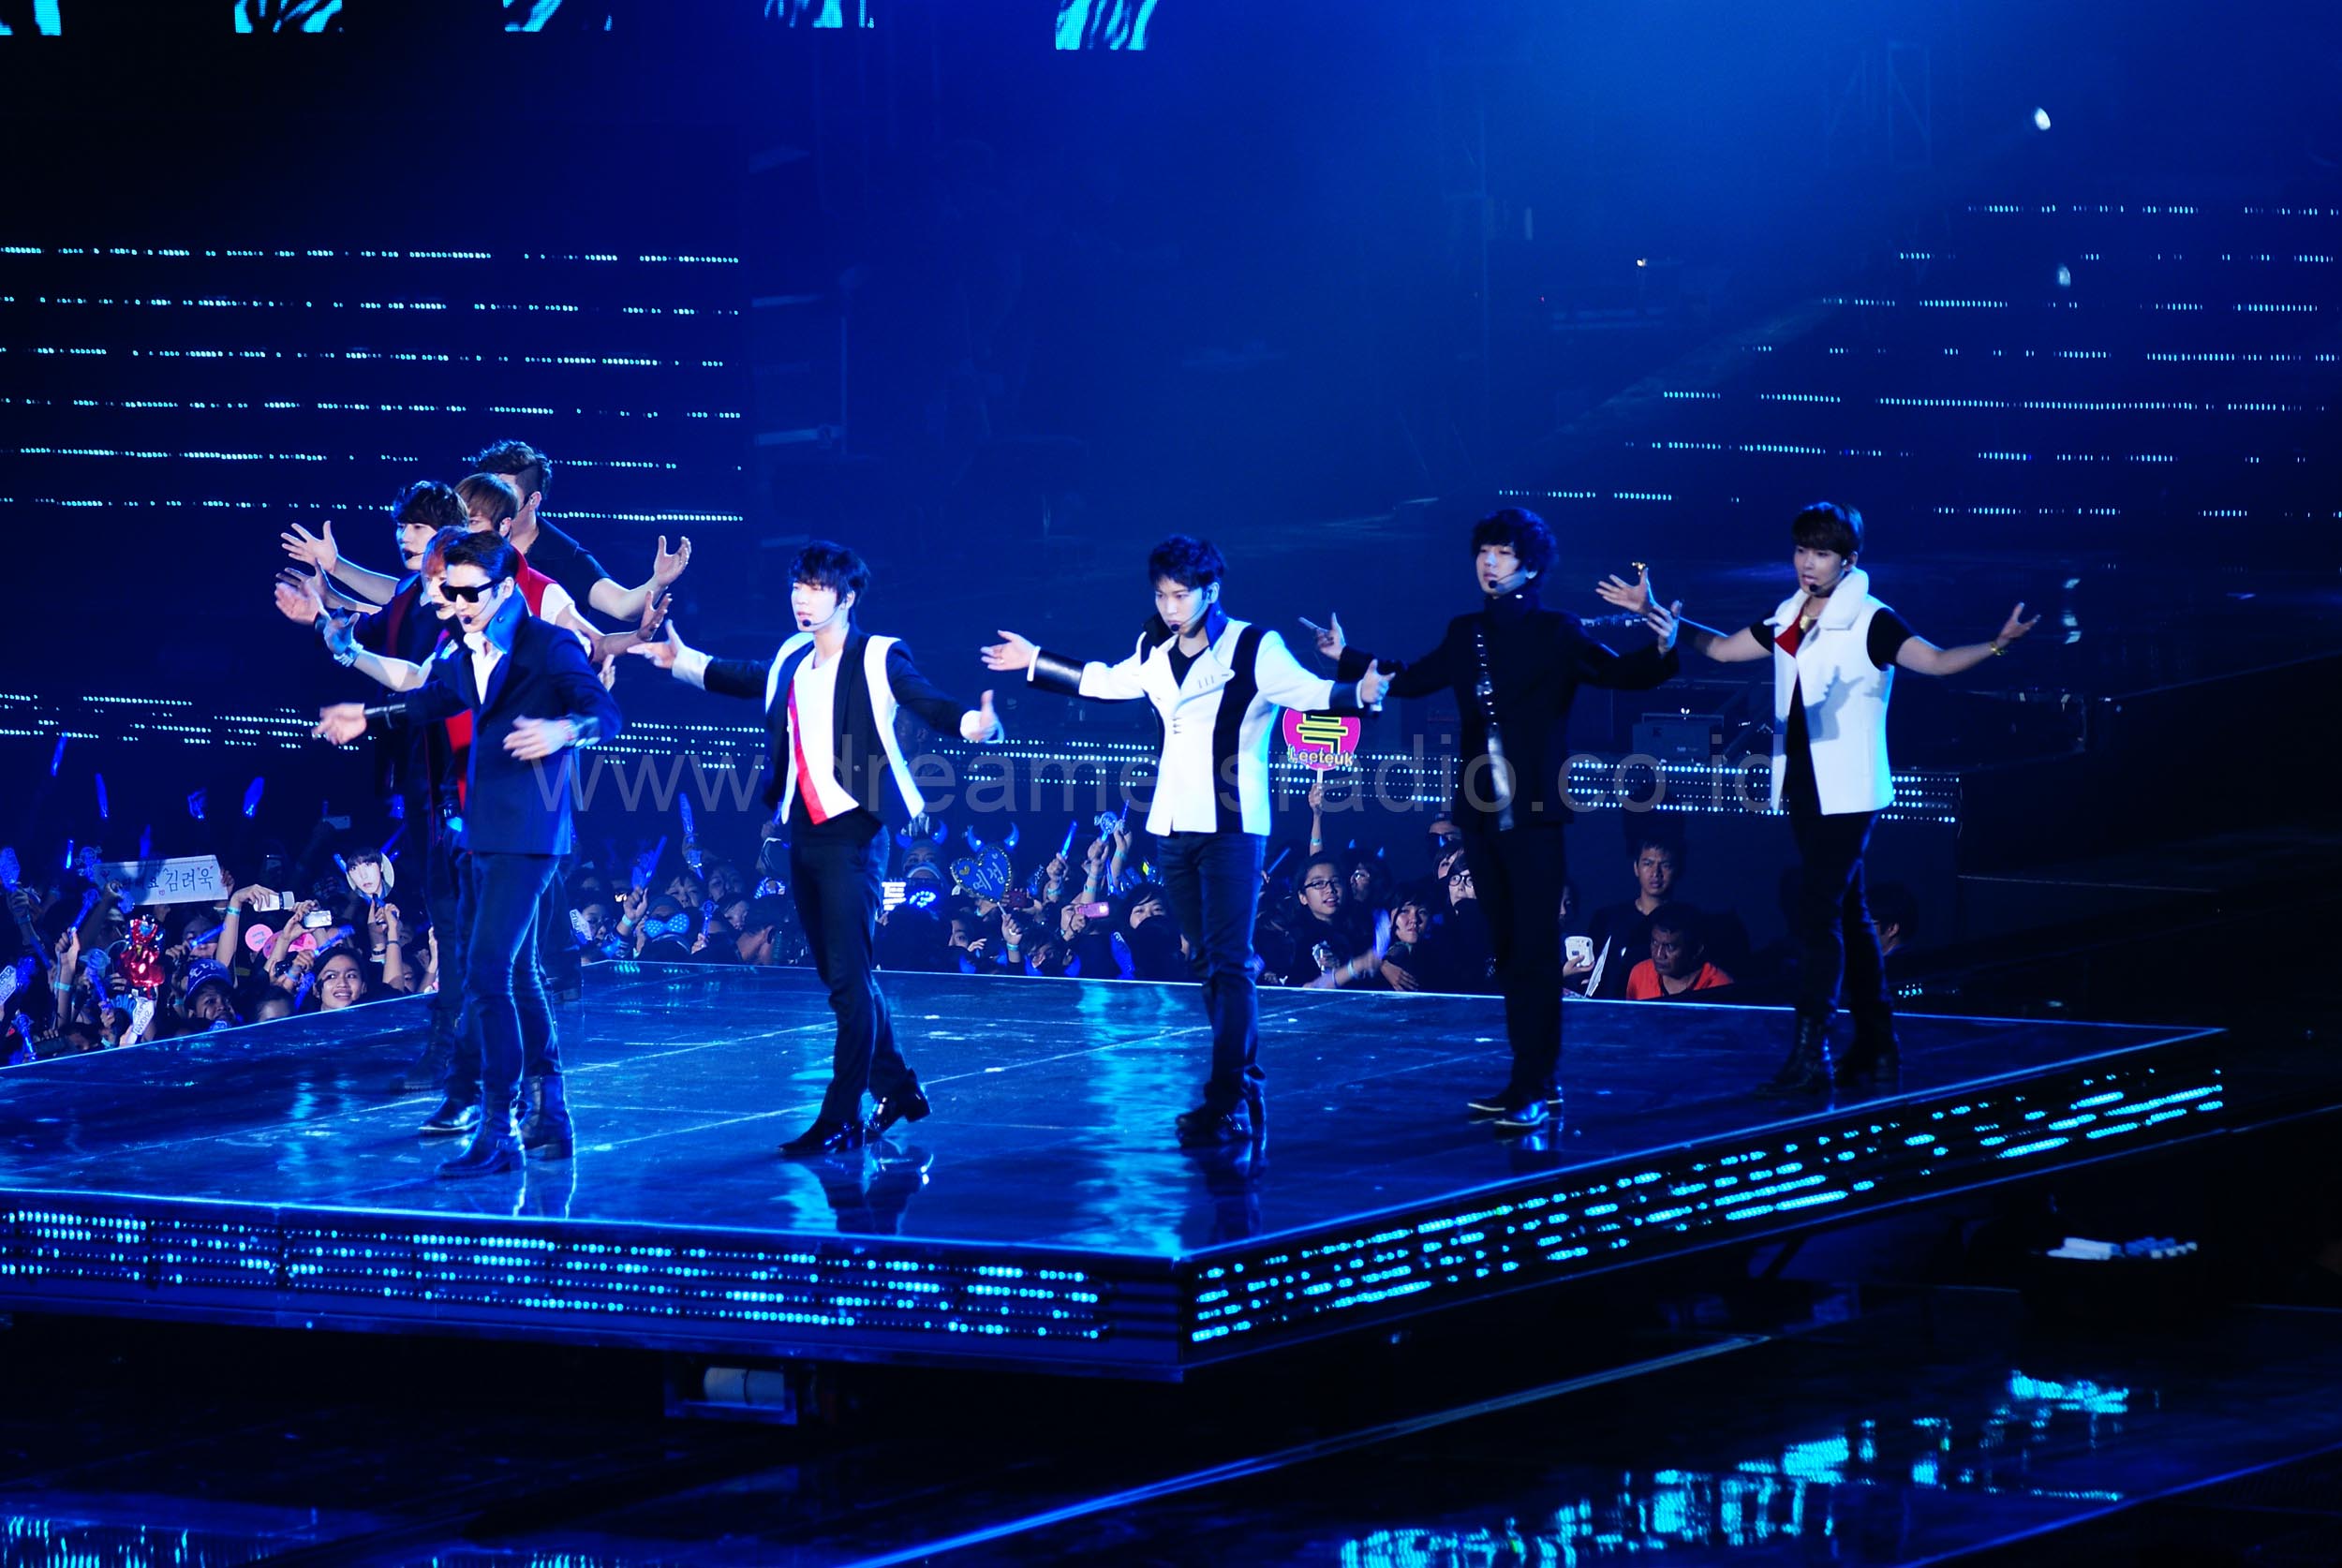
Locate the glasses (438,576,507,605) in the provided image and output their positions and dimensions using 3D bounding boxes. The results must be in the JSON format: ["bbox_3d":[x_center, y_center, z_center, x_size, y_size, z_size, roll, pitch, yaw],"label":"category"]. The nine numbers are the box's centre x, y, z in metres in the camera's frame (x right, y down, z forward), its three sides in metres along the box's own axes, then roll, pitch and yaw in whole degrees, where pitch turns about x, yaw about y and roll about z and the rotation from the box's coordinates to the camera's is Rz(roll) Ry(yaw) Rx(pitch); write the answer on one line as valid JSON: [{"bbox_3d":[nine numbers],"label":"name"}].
[{"bbox_3d":[-2.001,-0.541,6.304,0.170,0.061,0.069,-4,-4,18],"label":"glasses"}]

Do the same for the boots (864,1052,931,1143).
[{"bbox_3d":[-0.792,0.938,6.661,0.110,0.150,0.312,-8,-28,-35],"label":"boots"}]

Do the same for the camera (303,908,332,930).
[{"bbox_3d":[-3.600,0.582,9.427,0.127,0.118,0.068,0,-12,1],"label":"camera"}]

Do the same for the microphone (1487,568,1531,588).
[{"bbox_3d":[1.038,-0.615,6.743,0.083,0.071,0.062,14,6,-14],"label":"microphone"}]

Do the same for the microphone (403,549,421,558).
[{"bbox_3d":[-2.344,-0.711,6.897,0.040,0.028,0.039,2,5,7],"label":"microphone"}]

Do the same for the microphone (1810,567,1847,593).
[{"bbox_3d":[2.040,-0.627,6.887,0.070,0.071,0.092,-7,-17,37],"label":"microphone"}]

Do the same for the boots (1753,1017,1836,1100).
[{"bbox_3d":[1.931,0.853,6.881,0.232,0.231,0.251,-4,-4,14],"label":"boots"}]

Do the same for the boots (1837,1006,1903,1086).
[{"bbox_3d":[2.150,0.832,6.923,0.159,0.226,0.234,-6,-5,35],"label":"boots"}]

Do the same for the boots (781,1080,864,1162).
[{"bbox_3d":[-0.994,0.975,6.471,0.293,0.233,0.190,-1,-4,-28],"label":"boots"}]

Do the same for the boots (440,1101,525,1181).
[{"bbox_3d":[-1.910,1.015,6.295,0.281,0.252,0.124,3,-3,-12],"label":"boots"}]

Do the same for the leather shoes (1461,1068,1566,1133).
[{"bbox_3d":[1.041,0.978,6.703,0.297,0.132,0.307,-4,-4,8],"label":"leather shoes"}]

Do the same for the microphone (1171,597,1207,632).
[{"bbox_3d":[0.061,-0.499,6.563,0.092,0.098,0.080,23,19,25],"label":"microphone"}]
